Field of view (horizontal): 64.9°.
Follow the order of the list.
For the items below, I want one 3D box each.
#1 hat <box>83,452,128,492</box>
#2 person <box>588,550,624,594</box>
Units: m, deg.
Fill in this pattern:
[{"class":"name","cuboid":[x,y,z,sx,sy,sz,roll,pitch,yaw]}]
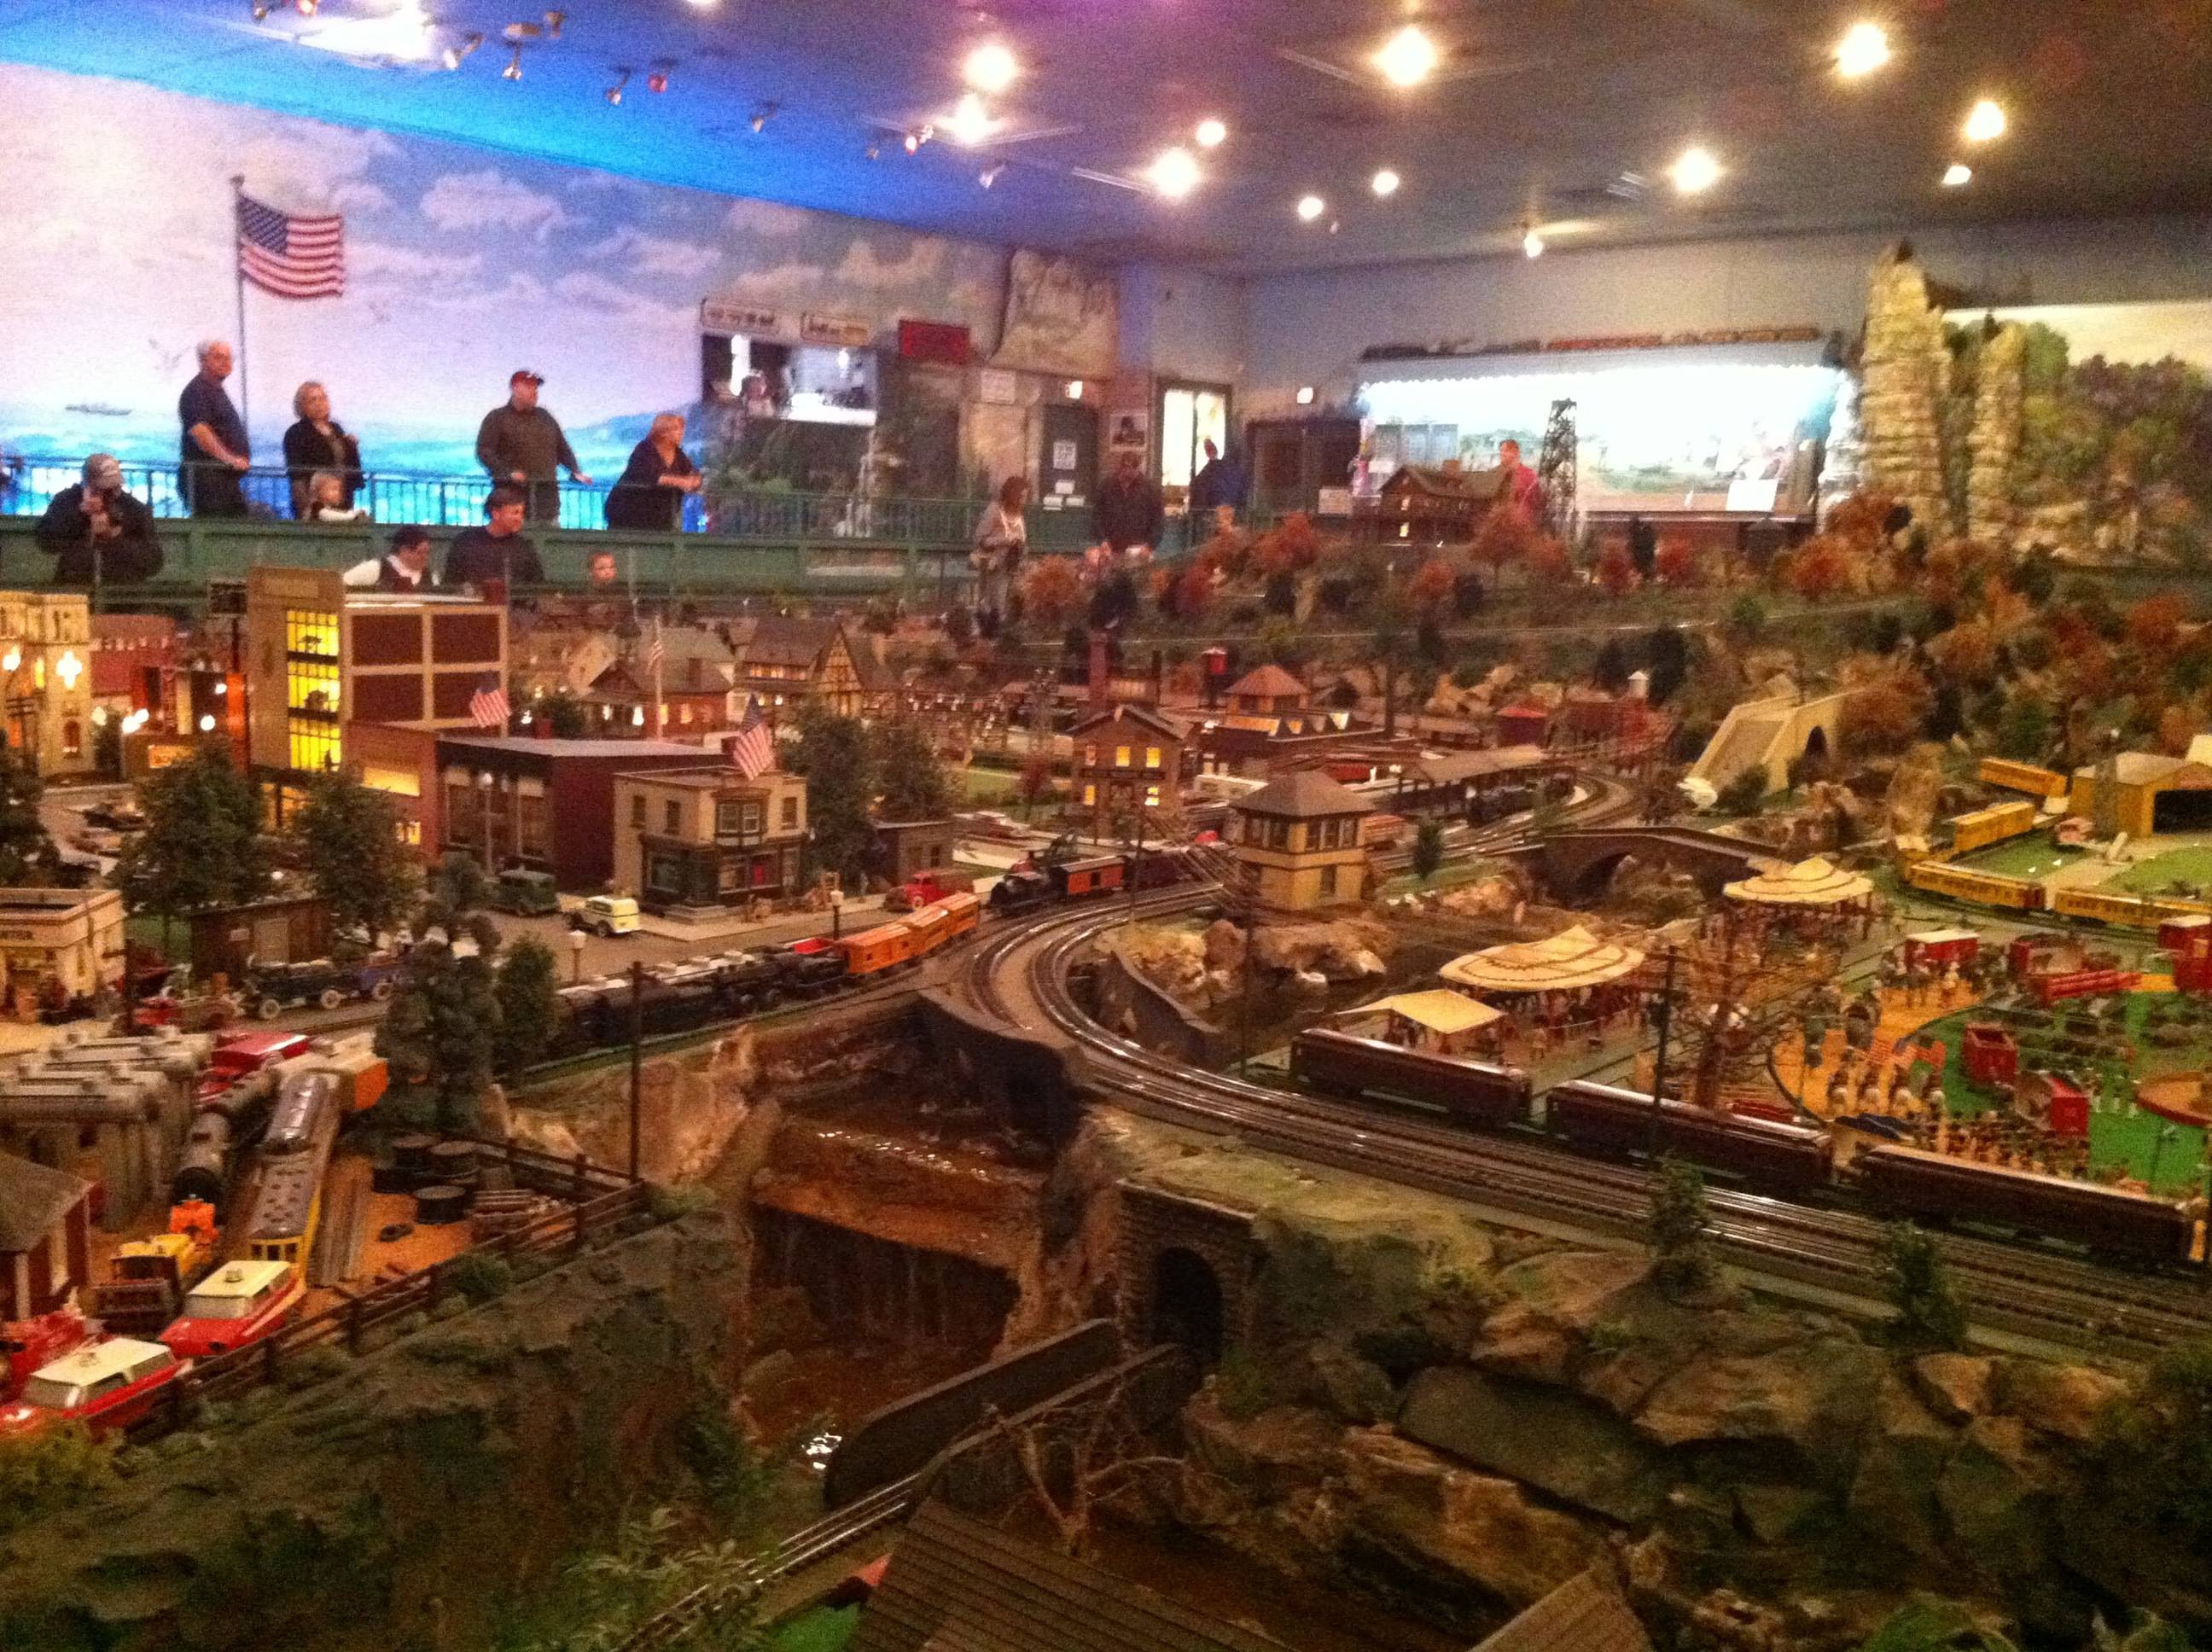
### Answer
[{"class":"hat","cuboid":[-27.512,-9.522,47.567,0.765,0.827,1.060,-7,10,-38]},{"class":"person","cuboid":[-16.943,-8.404,58.789,0.586,1.298,1.224,3,9,29]}]
